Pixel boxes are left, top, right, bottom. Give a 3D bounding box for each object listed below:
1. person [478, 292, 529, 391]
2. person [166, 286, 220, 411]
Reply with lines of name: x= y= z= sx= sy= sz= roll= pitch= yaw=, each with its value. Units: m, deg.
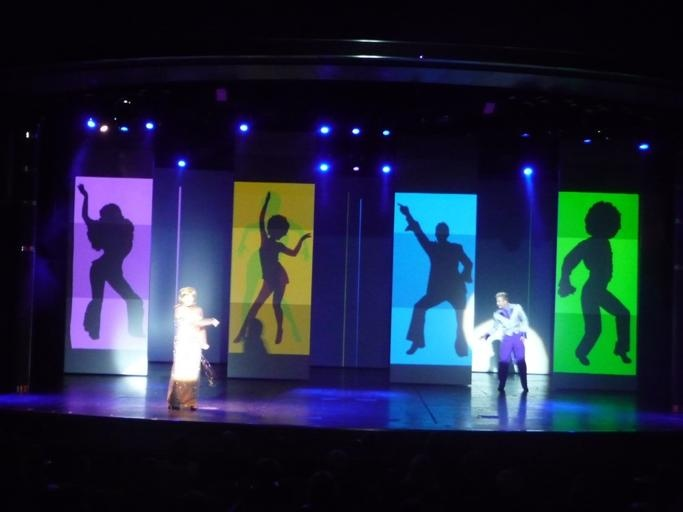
person: x=2.483 y=1.249 z=10.031 sx=0.633 sy=1.117 sz=1.528 roll=1 pitch=-1 yaw=16
person: x=-1.805 y=1.075 z=8.017 sx=0.500 sy=1.394 sz=0.801 roll=2 pitch=-1 yaw=-13
